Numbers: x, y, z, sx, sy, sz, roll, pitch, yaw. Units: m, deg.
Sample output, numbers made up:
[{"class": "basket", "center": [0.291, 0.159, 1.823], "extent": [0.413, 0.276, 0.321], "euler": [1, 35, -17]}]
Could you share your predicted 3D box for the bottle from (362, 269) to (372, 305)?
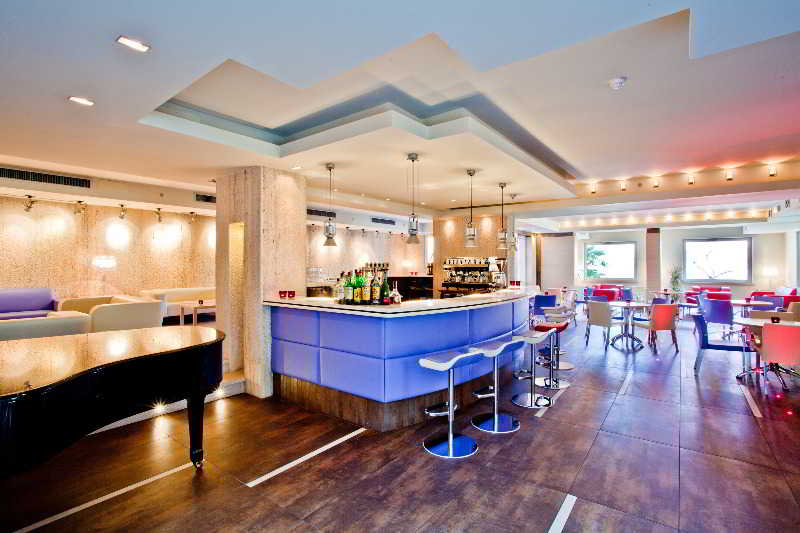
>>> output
[{"class": "bottle", "center": [-0.434, 0.271, 6.823], "extent": [0.138, 0.407, 0.198], "euler": [-1, 1, -4]}]

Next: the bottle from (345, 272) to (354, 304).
[{"class": "bottle", "center": [-0.686, 0.287, 6.970], "extent": [0.119, 0.393, 0.323], "euler": [-1, 0, -5]}]

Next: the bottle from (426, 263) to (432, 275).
[{"class": "bottle", "center": [0.937, 0.050, 16.943], "extent": [0.142, 0.387, 0.479], "euler": [-1, 0, -7]}]

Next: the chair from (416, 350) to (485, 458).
[{"class": "chair", "center": [0.647, 1.618, 6.324], "extent": [0.765, 1.180, 0.842], "euler": [-1, 0, 6]}]

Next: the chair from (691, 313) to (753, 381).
[{"class": "chair", "center": [5.093, 1.220, 8.256], "extent": [0.682, 0.977, 1.032], "euler": [-1, 0, 29]}]

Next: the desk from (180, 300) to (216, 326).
[{"class": "desk", "center": [-4.383, 0.995, 11.011], "extent": [0.634, 0.377, 1.649], "euler": [-1, 0, -25]}]

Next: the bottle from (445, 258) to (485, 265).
[{"class": "bottle", "center": [1.341, -0.104, 10.489], "extent": [0.864, 0.140, 0.260], "euler": [-1, 0, 38]}]

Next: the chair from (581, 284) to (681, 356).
[{"class": "chair", "center": [4.718, 1.052, 9.919], "extent": [1.383, 0.765, 1.374], "euler": [1, 4, 19]}]

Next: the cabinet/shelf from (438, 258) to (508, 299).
[{"class": "cabinet/shelf", "center": [1.443, 0.224, 10.293], "extent": [0.787, 0.825, 2.197], "euler": [-1, 0, -16]}]

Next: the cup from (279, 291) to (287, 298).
[{"class": "cup", "center": [-1.714, 0.410, 7.500], "extent": [0.107, 0.110, 0.100], "euler": [3, -1, 0]}]

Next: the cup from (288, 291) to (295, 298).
[{"class": "cup", "center": [-1.588, 0.413, 7.545], "extent": [0.095, 0.093, 0.089], "euler": [3, 1, 0]}]

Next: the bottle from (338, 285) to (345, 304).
[{"class": "bottle", "center": [-0.802, 0.362, 6.960], "extent": [0.058, 0.249, 0.157], "euler": [-1, 1, -27]}]

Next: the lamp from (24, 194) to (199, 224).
[{"class": "lamp", "center": [-5.871, -1.158, 10.237], "extent": [2.822, 0.238, 0.324], "euler": [10, -40, -42]}]

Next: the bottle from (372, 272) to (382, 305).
[{"class": "bottle", "center": [-0.315, 0.270, 6.735], "extent": [0.118, 0.406, 0.101], "euler": [-1, 1, -4]}]

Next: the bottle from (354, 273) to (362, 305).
[{"class": "bottle", "center": [-0.564, 0.274, 6.891], "extent": [0.100, 0.411, 0.270], "euler": [-1, 0, -5]}]

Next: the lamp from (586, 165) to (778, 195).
[{"class": "lamp", "center": [5.110, -1.590, 9.465], "extent": [3.026, 0.310, 0.148], "euler": [-1, 0, 30]}]
